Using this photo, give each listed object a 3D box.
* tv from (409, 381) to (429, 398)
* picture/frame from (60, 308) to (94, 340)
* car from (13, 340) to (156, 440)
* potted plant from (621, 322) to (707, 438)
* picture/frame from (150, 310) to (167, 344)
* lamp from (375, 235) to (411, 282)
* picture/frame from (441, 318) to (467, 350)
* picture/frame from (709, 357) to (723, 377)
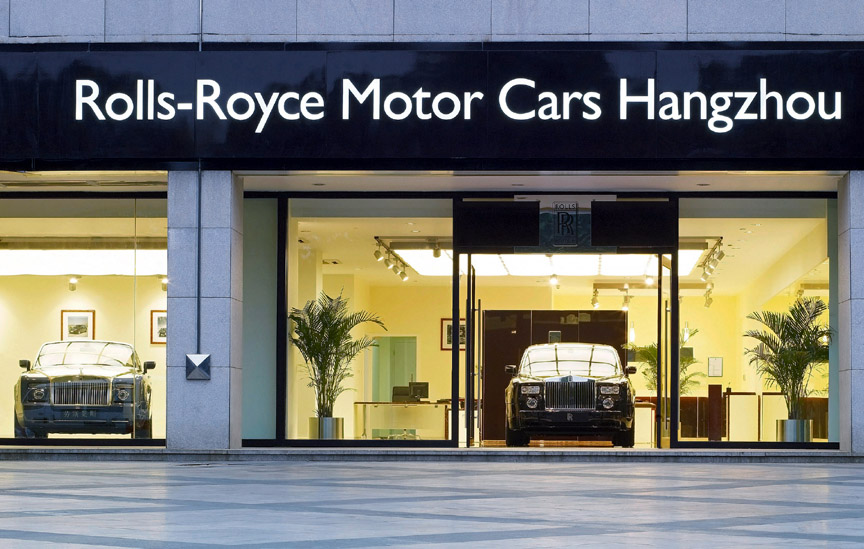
[{"bbox_3d":[-0.200,2.000,24.581,0.304,0.232,0.092,1,-11,3],"label":"tv"},{"bbox_3d":[-6.036,0.877,24.290,0.607,0.504,0.040,0,-9,-4],"label":"picture/frame"},{"bbox_3d":[-5.837,1.892,24.016,1.534,0.890,2.268,1,-12,-7],"label":"car"},{"bbox_3d":[4.227,1.755,25.722,1.686,1.898,1.545,-1,-6,28],"label":"potted plant"},{"bbox_3d":[-4.636,0.895,24.149,0.273,0.588,0.102,-4,-10,25],"label":"picture/frame"},{"bbox_3d":[-0.673,-0.263,24.935,0.629,0.731,0.225,1,-9,-6],"label":"lamp"},{"bbox_3d":[0.421,1.043,24.700,0.627,0.560,0.042,1,-4,1],"label":"picture/frame"},{"bbox_3d":[5.027,1.629,25.069,0.386,0.447,0.022,1,0,-4],"label":"picture/frame"}]
